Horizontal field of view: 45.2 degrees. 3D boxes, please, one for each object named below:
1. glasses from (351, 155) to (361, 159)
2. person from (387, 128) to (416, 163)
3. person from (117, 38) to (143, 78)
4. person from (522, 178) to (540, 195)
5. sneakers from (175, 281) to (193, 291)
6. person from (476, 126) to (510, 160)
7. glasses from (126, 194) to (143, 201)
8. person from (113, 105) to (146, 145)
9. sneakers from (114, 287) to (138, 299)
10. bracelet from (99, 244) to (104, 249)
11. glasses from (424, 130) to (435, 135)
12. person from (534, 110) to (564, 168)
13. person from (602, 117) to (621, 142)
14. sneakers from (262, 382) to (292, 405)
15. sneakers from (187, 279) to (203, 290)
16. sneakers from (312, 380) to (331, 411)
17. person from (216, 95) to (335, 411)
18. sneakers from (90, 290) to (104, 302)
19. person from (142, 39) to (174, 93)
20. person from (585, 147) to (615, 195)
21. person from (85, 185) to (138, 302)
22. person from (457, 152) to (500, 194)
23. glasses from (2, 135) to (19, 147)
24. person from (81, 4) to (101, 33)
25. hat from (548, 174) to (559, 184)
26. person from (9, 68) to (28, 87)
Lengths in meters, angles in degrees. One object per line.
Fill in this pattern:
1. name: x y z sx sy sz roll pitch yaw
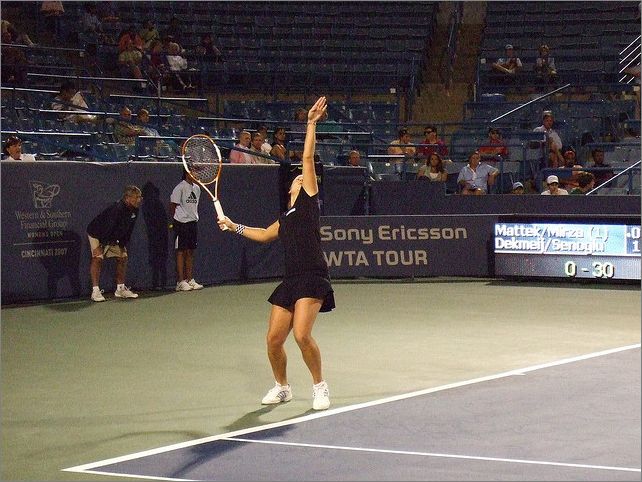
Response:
1. glasses: 0.891 -2.170 19.723 0.250 0.112 0.133 -8 11 -42
2. person: 2.139 -2.504 20.318 0.719 0.890 0.942 1 8 6
3. person: -5.849 -5.639 23.637 0.717 1.262 1.012 -2 9 -15
4. person: 5.494 -1.406 20.239 0.257 0.359 0.804 -2 0 2
5. sneakers: -2.895 0.963 16.153 0.143 0.154 0.329 1 2 15
6. person: 4.454 -2.470 19.989 0.758 1.156 0.627 1 0 7
7. glasses: -3.562 -0.823 14.606 0.261 0.125 0.135 -6 10 -36
8. person: -4.783 -2.853 19.182 0.753 0.884 1.169 -3 9 -20
9. sneakers: -3.855 1.034 15.307 0.481 0.258 0.201 0 4 -1
10. bracelet: -4.189 0.108 14.662 0.068 0.057 0.072 2 1 -2
11. glasses: 2.846 -2.856 20.382 0.165 0.116 0.377 -5 10 -29
12. person: 5.976 -2.450 20.052 0.629 1.718 0.881 -2 4 -13
13. person: 8.340 -3.209 22.141 0.511 0.701 1.061 3 9 21
14. sneakers: -0.506 1.860 9.338 0.414 0.208 0.164 -7 -1 -37
15. sneakers: -2.635 0.938 16.300 0.351 0.160 0.132 -1 1 14
16. sneakers: -0.006 1.847 9.107 0.235 0.288 0.687 -1 -8 3
17. person: -0.262 0.147 9.123 0.816 3.662 0.764 0 8 0
18. sneakers: -4.327 1.085 14.924 0.285 0.228 0.146 -3 -9 30
19. person: -5.147 -5.554 24.184 0.847 1.682 0.718 14 20 -14
20. person: 6.990 -1.724 19.218 0.495 0.431 1.315 -2 45 15
21. person: -3.994 0.078 14.874 1.010 2.260 0.634 -2 8 -14
22. person: 3.876 -1.529 18.897 0.939 1.404 0.973 2 -4 11
23. glasses: -5.957 -1.888 14.774 0.381 0.204 0.143 6 10 34
24. person: -7.487 -7.217 25.035 0.639 0.924 0.457 -6 10 -34
25. hat: 5.452 -1.472 18.116 0.232 0.164 0.359 0 -4 6
26. person: -8.110 -4.405 20.699 0.353 0.530 0.900 0 8 0
